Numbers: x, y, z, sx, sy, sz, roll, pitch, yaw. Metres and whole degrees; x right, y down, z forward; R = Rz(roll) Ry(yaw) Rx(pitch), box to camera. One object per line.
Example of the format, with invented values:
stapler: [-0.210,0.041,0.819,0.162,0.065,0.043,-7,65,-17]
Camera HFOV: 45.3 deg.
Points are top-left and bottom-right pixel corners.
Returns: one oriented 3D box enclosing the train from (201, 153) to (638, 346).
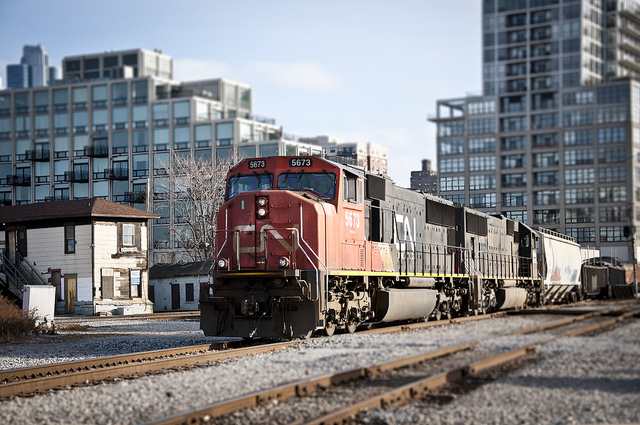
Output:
train: [8.590,2.324,42.739,7.254,7.075,39.457,-3,-7,29]
